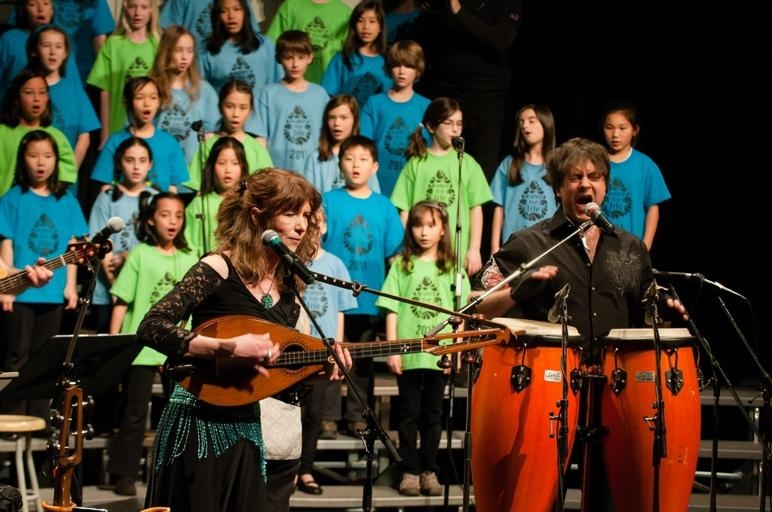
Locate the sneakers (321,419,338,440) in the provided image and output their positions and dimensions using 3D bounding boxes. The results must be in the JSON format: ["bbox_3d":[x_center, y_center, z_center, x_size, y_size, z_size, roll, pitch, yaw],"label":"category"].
[{"bbox_3d":[-0.450,1.363,7.700,0.137,0.150,0.360,1,-10,0],"label":"sneakers"}]

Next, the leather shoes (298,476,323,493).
[{"bbox_3d":[-0.570,1.741,7.441,0.085,0.064,0.231,4,-5,-36],"label":"leather shoes"}]

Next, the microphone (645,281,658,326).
[{"bbox_3d":[1.747,0.315,6.466,0.088,0.318,0.289,1,-9,8],"label":"microphone"}]

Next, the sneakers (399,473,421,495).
[{"bbox_3d":[0.185,1.734,7.444,0.161,0.160,0.083,2,-9,-1],"label":"sneakers"}]

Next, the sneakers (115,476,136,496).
[{"bbox_3d":[-1.971,1.741,7.408,0.203,0.143,0.112,2,-9,2],"label":"sneakers"}]

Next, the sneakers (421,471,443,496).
[{"bbox_3d":[0.358,1.734,7.470,0.183,0.172,0.105,5,-9,-15],"label":"sneakers"}]

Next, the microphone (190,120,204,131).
[{"bbox_3d":[-1.540,-1.082,8.016,0.100,0.076,0.169,9,-8,0],"label":"microphone"}]
